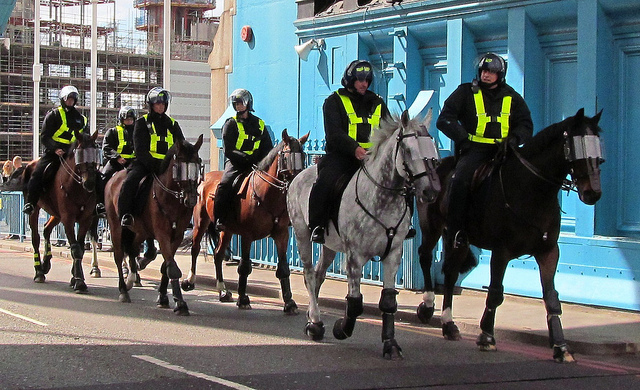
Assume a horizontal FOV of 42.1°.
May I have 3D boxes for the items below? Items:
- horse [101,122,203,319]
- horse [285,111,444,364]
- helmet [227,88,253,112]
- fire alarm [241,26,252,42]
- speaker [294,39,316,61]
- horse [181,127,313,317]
[{"bbox_3d":[-3.849,0.432,18.963,1.264,4.154,3.580,-3,7,-40],"label":"horse"},{"bbox_3d":[0.754,0.664,16.166,1.843,4.621,3.613,-1,6,-22],"label":"horse"},{"bbox_3d":[-1.893,-2.249,19.588,0.483,0.585,0.512,3,13,10],"label":"helmet"},{"bbox_3d":[-2.380,-5.271,27.030,0.187,0.512,0.519,5,1,-37],"label":"fire alarm"},{"bbox_3d":[-0.434,-4.296,24.526,0.582,0.610,0.376,1,6,-3],"label":"speaker"},{"bbox_3d":[-1.793,0.609,19.997,1.716,4.120,6.131,6,-4,-30],"label":"horse"}]
